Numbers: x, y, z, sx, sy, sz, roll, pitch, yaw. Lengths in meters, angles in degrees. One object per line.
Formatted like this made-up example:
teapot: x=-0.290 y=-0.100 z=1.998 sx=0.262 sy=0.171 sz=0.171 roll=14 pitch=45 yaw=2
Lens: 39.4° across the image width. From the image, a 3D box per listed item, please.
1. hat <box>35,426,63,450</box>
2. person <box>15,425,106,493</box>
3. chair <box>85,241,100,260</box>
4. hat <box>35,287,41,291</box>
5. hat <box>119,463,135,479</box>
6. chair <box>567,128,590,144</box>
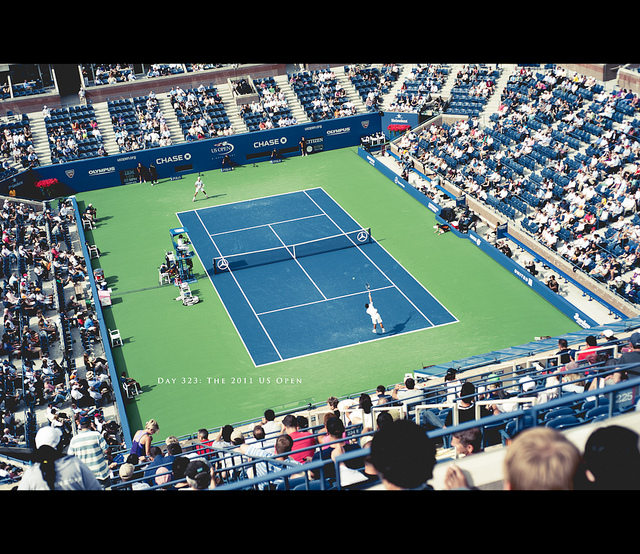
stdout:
hat: x=-3.479 y=2.053 z=11.458 sx=0.308 sy=0.342 sz=0.286 roll=2 pitch=-38 yaw=-8
person: x=-3.415 y=2.382 z=11.492 sx=1.042 sy=0.963 sz=0.602 roll=-8 pitch=-29 yaw=-18
chair: x=-9.140 y=-1.029 z=36.241 sx=0.639 sy=0.702 sz=0.553 roll=6 pitch=16 yaw=29
hat: x=-9.751 y=0.398 z=30.837 sx=0.175 sy=0.169 sz=0.078 roll=-18 pitch=-28 yaw=2
hat: x=-3.216 y=3.184 z=14.793 sx=0.235 sy=0.262 sz=0.138 roll=-3 pitch=-56 yaw=-15
chair: x=10.840 y=-5.941 z=37.618 sx=0.197 sy=0.950 sz=0.216 roll=-30 pitch=-56 yaw=-14
